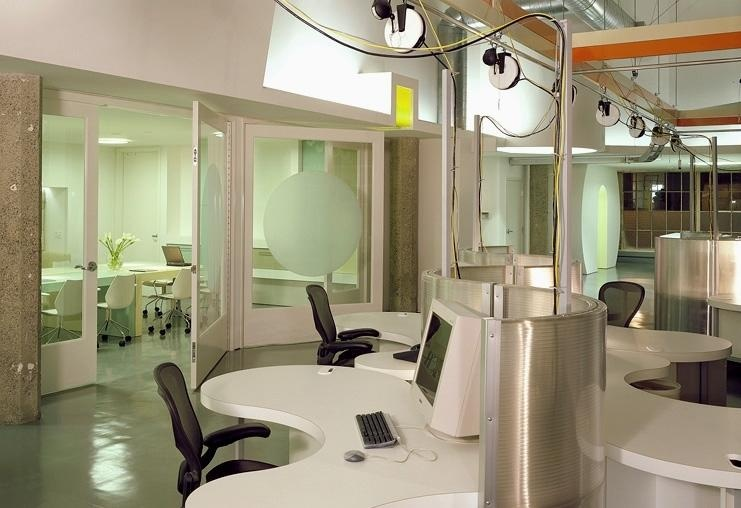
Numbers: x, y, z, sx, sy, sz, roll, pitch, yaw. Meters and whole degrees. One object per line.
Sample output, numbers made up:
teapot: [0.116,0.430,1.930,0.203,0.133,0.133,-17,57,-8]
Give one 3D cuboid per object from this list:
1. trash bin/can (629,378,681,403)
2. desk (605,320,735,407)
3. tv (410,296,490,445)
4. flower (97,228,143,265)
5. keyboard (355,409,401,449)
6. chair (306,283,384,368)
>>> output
trash bin/can: [1.923,0.926,3.593,0.277,0.117,0.358,-1,-2,8]
desk: [2.567,0.849,4.268,0.808,0.272,0.817,0,5,10]
tv: [0.415,0.615,2.700,0.377,0.684,0.728,1,1,-5]
flower: [-4.574,-0.057,9.556,0.706,0.615,0.664,7,2,3]
keyboard: [0.034,0.953,2.886,0.195,0.049,0.303,-7,15,-12]
chair: [-0.335,0.693,5.468,0.758,1.115,0.787,-5,2,13]
